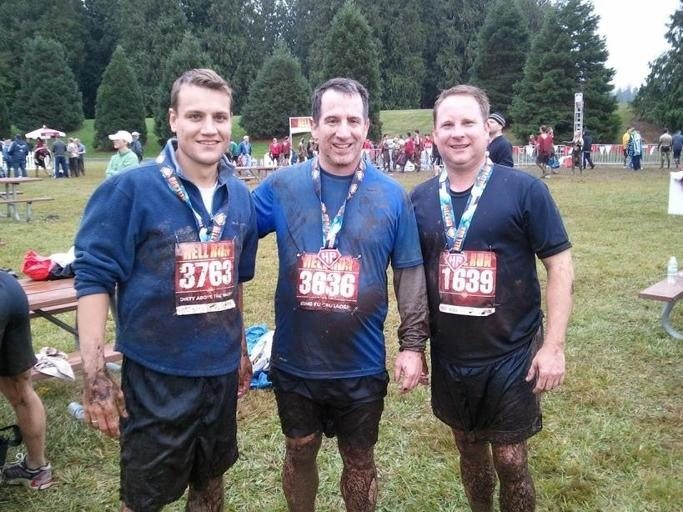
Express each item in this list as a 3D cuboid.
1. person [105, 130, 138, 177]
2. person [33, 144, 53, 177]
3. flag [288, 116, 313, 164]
[{"bbox_3d":[-3.472,-1.510,9.446,0.525,0.874,0.451,1,-3,41],"label":"person"},{"bbox_3d":[-15.071,-4.780,29.815,0.892,2.107,0.659,1,-32,-36],"label":"person"},{"bbox_3d":[-2.454,-7.271,37.589,1.879,2.801,0.095,-8,35,-20],"label":"flag"}]
